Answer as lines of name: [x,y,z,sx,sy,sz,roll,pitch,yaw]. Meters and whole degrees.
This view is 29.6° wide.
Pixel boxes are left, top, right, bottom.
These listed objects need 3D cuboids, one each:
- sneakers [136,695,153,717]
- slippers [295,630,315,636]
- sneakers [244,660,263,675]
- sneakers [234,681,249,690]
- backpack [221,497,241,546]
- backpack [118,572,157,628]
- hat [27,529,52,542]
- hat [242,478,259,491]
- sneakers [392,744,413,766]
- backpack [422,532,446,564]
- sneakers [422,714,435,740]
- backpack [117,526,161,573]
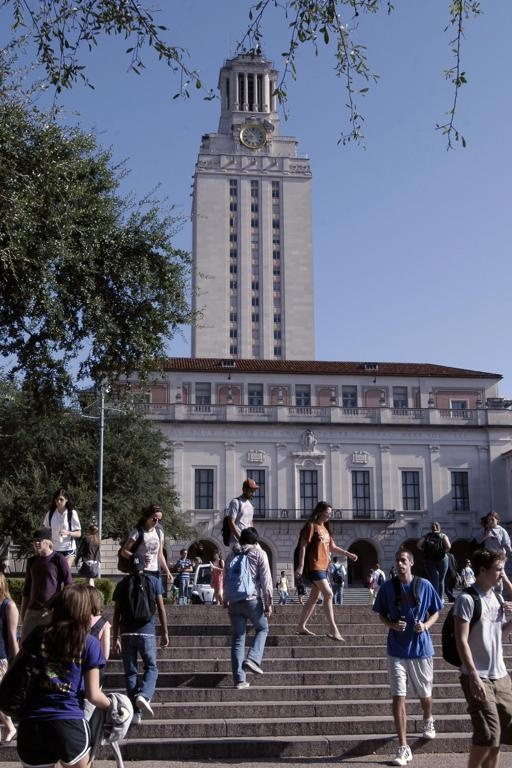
sneakers: [-0.953,2.750,8.287,0.095,0.111,0.281,-17,-46,6]
slippers: [0.616,3.090,11.978,0.258,0.109,0.085,-3,-6,13]
sneakers: [-0.037,2.825,9.626,0.163,0.187,0.419,-1,-9,0]
sneakers: [-0.150,2.976,9.537,0.067,0.080,0.187,-7,-33,14]
backpack: [-0.275,1.425,10.703,0.181,0.327,0.217,12,-4,-30]
backpack: [-1.033,1.905,8.606,0.288,0.404,0.218,-2,-19,-9]
hat: [-1.873,1.297,8.306,0.108,0.123,0.155,1,-4,11]
hat: [-0.071,1.107,10.689,0.157,0.132,0.216,3,-25,-10]
sneakers: [1.196,3.055,7.883,0.087,0.112,0.266,-7,-28,20]
backpack: [2.545,2.352,13.798,0.393,0.535,0.280,3,-21,-3]
sneakers: [1.500,2.995,8.423,0.096,0.208,0.244,-3,-9,11]
backpack: [-1.081,1.576,9.164,0.423,0.459,0.385,-3,-14,1]
